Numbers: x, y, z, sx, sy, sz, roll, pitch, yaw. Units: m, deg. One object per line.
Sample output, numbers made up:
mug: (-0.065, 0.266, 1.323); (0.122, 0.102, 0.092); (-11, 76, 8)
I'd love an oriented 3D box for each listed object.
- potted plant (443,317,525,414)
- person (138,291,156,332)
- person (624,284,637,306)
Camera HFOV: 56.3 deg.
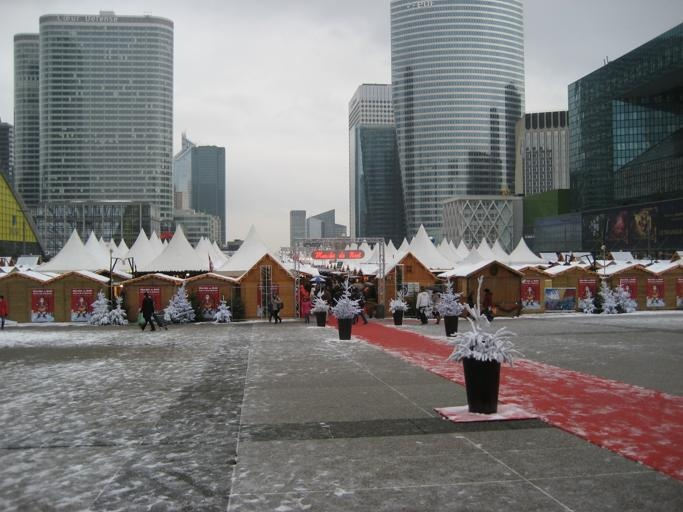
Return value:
potted plant: (2.895, 2.064, 13.016); (1.367, 1.841, 1.339); (0, -6, -7)
person: (-9.067, 2.547, 30.020); (0.604, 1.782, 1.379); (-1, -1, -17)
person: (17.811, 2.060, 39.202); (0.943, 1.166, 0.260); (-1, -1, -24)
